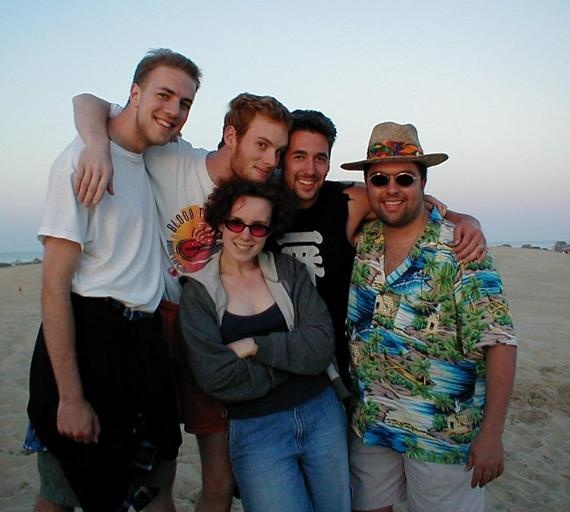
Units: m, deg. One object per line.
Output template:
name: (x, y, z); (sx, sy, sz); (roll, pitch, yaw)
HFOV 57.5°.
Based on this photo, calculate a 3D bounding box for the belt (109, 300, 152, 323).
belt: (-0.954, 0.340, 3.153); (0.159, 0.058, 0.153); (30, -7, -38)

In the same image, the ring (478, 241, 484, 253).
ring: (1.220, -0.054, 3.219); (0.016, 0.050, 0.058); (-11, -7, 43)
